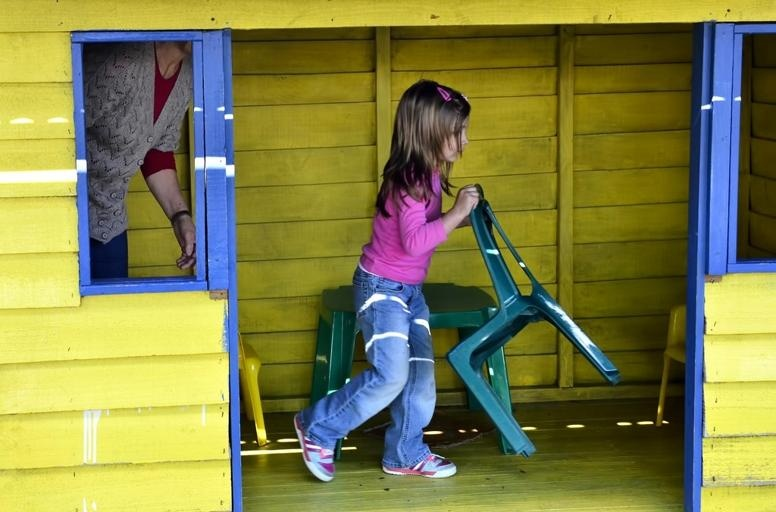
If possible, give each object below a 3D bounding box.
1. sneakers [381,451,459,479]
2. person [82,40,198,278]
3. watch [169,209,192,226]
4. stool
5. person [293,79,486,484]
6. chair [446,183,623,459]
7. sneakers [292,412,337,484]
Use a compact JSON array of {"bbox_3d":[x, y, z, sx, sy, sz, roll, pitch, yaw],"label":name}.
[{"bbox_3d":[0.146,0.995,5.551,0.347,0.140,0.124,0,0,2],"label":"sneakers"},{"bbox_3d":[-1.105,-0.420,5.107,0.464,0.994,0.747,-1,-13,-12],"label":"person"},{"bbox_3d":[-0.943,-0.178,5.214,0.075,0.028,0.064,-28,-3,7],"label":"watch"},{"bbox_3d":[0.042,0.541,5.977,0.940,0.632,0.892,0,-2,-7],"label":"stool"},{"bbox_3d":[0.046,0.137,5.371,0.581,1.763,0.987,5,-16,-33],"label":"person"},{"bbox_3d":[0.611,0.280,5.122,0.700,1.183,0.334,-6,-14,7],"label":"chair"},{"bbox_3d":[-0.338,0.920,5.484,0.142,0.336,0.127,-26,-3,5],"label":"sneakers"}]
